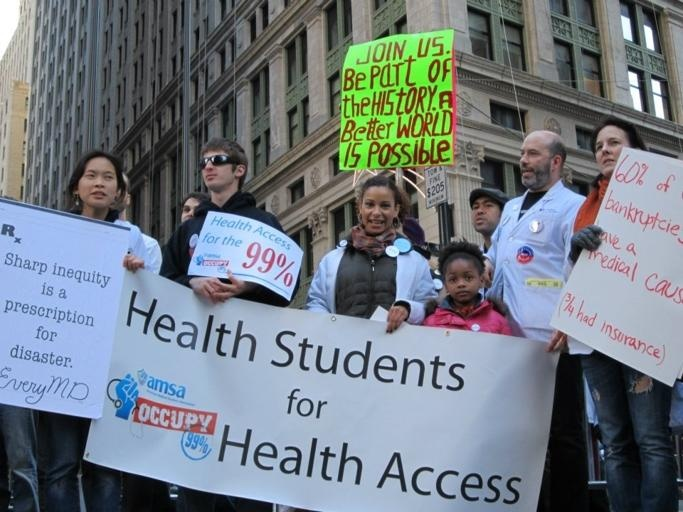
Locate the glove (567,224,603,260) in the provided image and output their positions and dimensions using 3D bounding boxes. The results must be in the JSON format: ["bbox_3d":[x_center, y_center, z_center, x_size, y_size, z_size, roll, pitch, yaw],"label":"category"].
[{"bbox_3d":[1.568,-0.082,6.253,0.152,0.205,0.299,8,-15,-12],"label":"glove"}]
